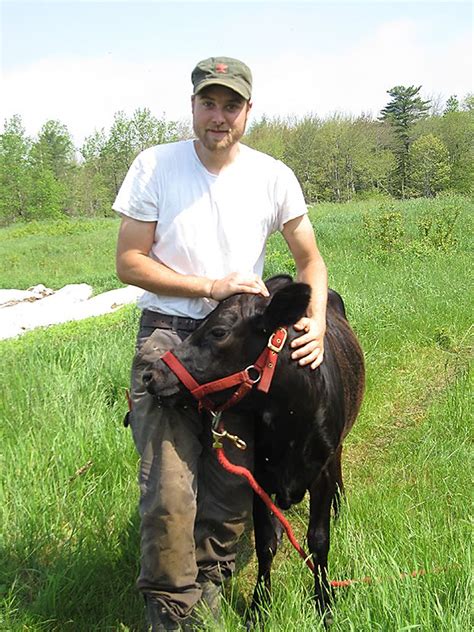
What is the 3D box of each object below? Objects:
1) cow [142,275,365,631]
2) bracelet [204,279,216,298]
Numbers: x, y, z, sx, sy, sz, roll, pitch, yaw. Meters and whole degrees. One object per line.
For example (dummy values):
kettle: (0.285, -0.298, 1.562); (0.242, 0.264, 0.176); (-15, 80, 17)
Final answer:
cow: (0.270, 0.627, 2.701); (0.737, 1.584, 1.977); (-1, 1, 17)
bracelet: (-0.106, -0.113, 2.085); (0.053, 0.075, 0.052); (-12, -1, -15)
